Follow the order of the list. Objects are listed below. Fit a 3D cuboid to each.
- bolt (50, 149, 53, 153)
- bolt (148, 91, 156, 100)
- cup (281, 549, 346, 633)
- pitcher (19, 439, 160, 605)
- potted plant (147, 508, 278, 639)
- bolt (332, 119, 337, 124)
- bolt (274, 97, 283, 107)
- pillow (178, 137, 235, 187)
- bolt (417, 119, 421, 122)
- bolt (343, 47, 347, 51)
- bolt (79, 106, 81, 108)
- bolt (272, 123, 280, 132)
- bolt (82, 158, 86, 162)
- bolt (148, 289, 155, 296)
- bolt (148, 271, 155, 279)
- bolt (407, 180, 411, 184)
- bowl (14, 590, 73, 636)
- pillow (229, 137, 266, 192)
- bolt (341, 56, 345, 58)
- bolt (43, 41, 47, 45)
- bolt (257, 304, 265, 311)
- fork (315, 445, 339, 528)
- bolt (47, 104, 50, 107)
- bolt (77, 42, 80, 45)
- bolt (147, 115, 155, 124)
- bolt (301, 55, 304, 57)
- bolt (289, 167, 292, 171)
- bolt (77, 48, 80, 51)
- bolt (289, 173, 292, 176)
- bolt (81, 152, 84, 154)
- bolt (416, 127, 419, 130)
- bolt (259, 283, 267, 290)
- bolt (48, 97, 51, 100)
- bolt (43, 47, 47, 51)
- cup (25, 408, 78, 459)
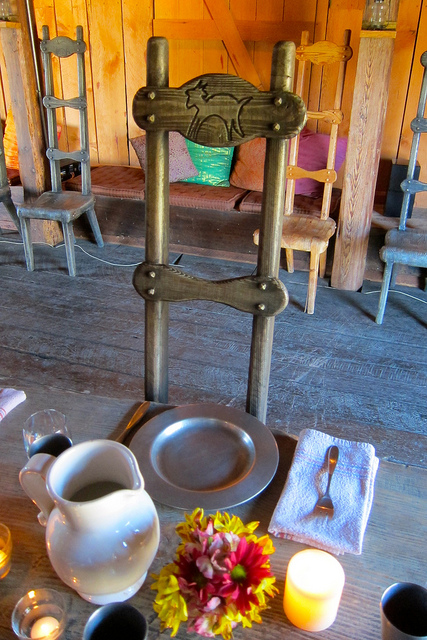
[{"bbox_3d":[-1.043,-1.090,3.190,0.016,0.016,0.005,-1,27,-7],"label":"bolt"},{"bbox_3d":[-0.102,-0.370,0.819,0.011,0.010,0.002,-1,10,13],"label":"bolt"},{"bbox_3d":[0.097,0.288,0.550,0.070,0.074,0.070,1,30,-1],"label":"cup"},{"bbox_3d":[-0.124,0.228,0.538,0.109,0.185,0.128,-14,31,-29],"label":"pitcher"},{"bbox_3d":[0.003,0.241,0.502,0.132,0.123,0.129,-1,53,7],"label":"potted plant"},{"bbox_3d":[0.644,-1.062,2.649,0.024,0.020,0.010,10,28,16],"label":"bolt"},{"bbox_3d":[0.098,-0.330,0.752,0.013,0.013,0.005,7,27,9],"label":"bolt"},{"bbox_3d":[-0.085,-1.187,3.656,0.437,0.390,0.152,8,32,11],"label":"pillow"},{"bbox_3d":[0.995,-0.969,2.410,0.017,0.011,0.003,7,27,9],"label":"bolt"},{"bbox_3d":[0.687,-1.425,2.608,0.004,0.015,0.015,7,41,-20],"label":"bolt"},{"bbox_3d":[-0.835,-1.333,3.103,0.009,0.008,0.002,-3,4,-2],"label":"bolt"},{"bbox_3d":[0.095,-0.294,0.760,0.012,0.011,0.004,15,30,23],"label":"bolt"},{"bbox_3d":[-0.847,-1.048,3.244,0.021,0.029,0.032,-4,28,-13],"label":"bolt"},{"bbox_3d":[-0.117,-0.053,0.925,0.009,0.007,0.011,-1,70,-9],"label":"bolt"},{"bbox_3d":[-0.115,-0.085,0.918,0.011,0.013,0.011,14,18,-2],"label":"bolt"},{"bbox_3d":[1.010,-0.717,2.568,0.014,0.014,0.003,-20,3,10],"label":"bolt"},{"bbox_3d":[-0.179,0.307,0.521,0.052,0.017,0.044,11,28,17],"label":"bowl"},{"bbox_3d":[0.244,-1.093,3.490,0.260,0.333,0.169,12,29,19],"label":"pillow"},{"bbox_3d":[0.683,-1.394,2.626,0.016,0.015,0.004,-6,1,10],"label":"bolt"},{"bbox_3d":[-1.019,-1.674,2.993,0.023,0.022,0.005,-6,13,-7],"label":"bolt"},{"bbox_3d":[0.081,-0.023,0.857,0.012,0.012,0.002,6,27,8],"label":"bolt"},{"bbox_3d":[0.160,0.225,0.693,0.023,0.007,0.158,14,29,13],"label":"fork"},{"bbox_3d":[-1.035,-1.345,3.110,0.014,0.015,0.005,2,27,0],"label":"bolt"},{"bbox_3d":[-0.807,-1.655,2.971,0.011,0.016,0.010,0,70,-9],"label":"bolt"},{"bbox_3d":[-0.106,-0.338,0.836,0.013,0.012,0.003,-2,6,9],"label":"bolt"},{"bbox_3d":[0.483,-1.442,2.709,0.016,0.009,0.003,22,33,35],"label":"bolt"},{"bbox_3d":[0.437,-0.860,2.816,0.011,0.016,0.010,4,51,10],"label":"bolt"},{"bbox_3d":[-0.812,-1.627,2.986,0.011,0.016,0.010,1,59,-9],"label":"bolt"},{"bbox_3d":[0.435,-0.829,2.819,0.017,0.014,0.008,13,29,20],"label":"bolt"},{"bbox_3d":[-0.845,-1.077,3.197,0.016,0.008,0.003,-14,31,-30],"label":"bolt"},{"bbox_3d":[0.994,-0.939,2.427,0.008,0.011,0.004,-4,-5,8],"label":"bolt"},{"bbox_3d":[0.084,-0.058,0.843,0.013,0.012,0.002,7,28,10],"label":"bolt"},{"bbox_3d":[-1.025,-1.384,3.098,0.017,0.011,0.003,-1,27,-6],"label":"bolt"},{"bbox_3d":[-1.023,-1.643,3.013,0.024,0.014,0.005,2,27,0],"label":"bolt"},{"bbox_3d":[-0.225,0.162,0.735,0.081,0.075,0.078,-1,18,0],"label":"cup"}]
